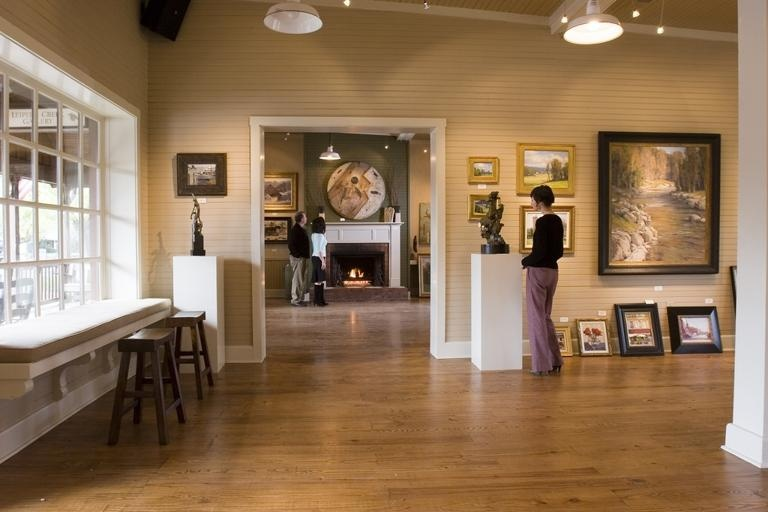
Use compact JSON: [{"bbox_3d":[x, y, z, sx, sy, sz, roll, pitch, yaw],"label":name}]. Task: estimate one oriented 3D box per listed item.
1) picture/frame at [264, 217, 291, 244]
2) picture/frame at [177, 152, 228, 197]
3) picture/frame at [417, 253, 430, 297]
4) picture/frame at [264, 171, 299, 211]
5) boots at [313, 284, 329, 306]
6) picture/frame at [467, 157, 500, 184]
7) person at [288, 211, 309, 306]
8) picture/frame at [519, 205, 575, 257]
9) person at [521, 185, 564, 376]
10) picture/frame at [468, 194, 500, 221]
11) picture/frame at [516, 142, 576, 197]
[{"bbox_3d":[-2.551,-0.583,13.753,0.878,0.703,0.080,0,-3,-7],"label":"picture/frame"},{"bbox_3d":[-2.505,-1.110,7.946,0.693,0.554,0.045,-1,-3,-3],"label":"picture/frame"},{"bbox_3d":[1.017,0.450,13.822,0.058,1.013,0.612,-1,-2,-35],"label":"picture/frame"},{"bbox_3d":[-2.580,-1.519,14.188,1.007,0.856,0.056,1,4,25],"label":"picture/frame"},{"bbox_3d":[-1.422,0.803,12.975,0.294,0.586,0.619,-2,14,-6],"label":"boots"},{"bbox_3d":[1.354,-1.188,8.204,0.435,0.312,0.032,0,-3,-5],"label":"picture/frame"},{"bbox_3d":[-1.906,0.036,12.932,0.420,2.053,0.752,-3,15,-9],"label":"person"},{"bbox_3d":[2.127,-0.351,7.832,0.824,0.672,0.078,1,-5,-4],"label":"picture/frame"},{"bbox_3d":[2.033,0.308,7.521,0.549,2.333,0.768,-1,15,-4],"label":"person"},{"bbox_3d":[1.344,-0.662,7.980,0.467,0.398,0.037,0,-2,-8],"label":"picture/frame"},{"bbox_3d":[2.300,-1.198,8.318,0.069,0.651,0.834,-9,12,-43],"label":"picture/frame"}]
